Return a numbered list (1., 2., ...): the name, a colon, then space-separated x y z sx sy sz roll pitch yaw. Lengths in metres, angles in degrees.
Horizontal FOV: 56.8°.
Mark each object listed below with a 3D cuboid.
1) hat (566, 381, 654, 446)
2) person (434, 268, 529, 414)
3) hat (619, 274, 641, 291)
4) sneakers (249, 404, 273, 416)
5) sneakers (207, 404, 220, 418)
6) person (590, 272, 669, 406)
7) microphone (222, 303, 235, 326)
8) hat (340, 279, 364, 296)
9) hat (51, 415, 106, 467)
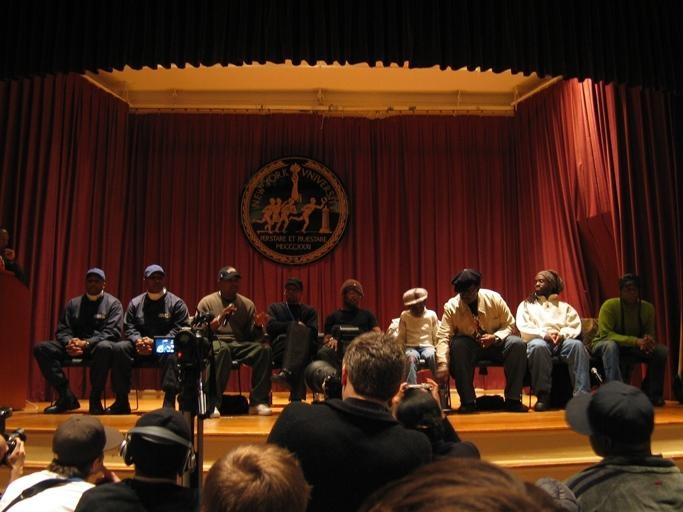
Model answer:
1. hat: 1.492 0.824 3.471 0.423 0.274 0.354 15 29 22
2. person: 1.373 0.863 6.327 1.038 1.516 0.916 9 -17 -41
3. hat: 2.931 0.252 6.466 0.115 0.150 0.177 4 -18 2
4. sneakers: -0.769 1.466 6.029 0.207 0.101 0.089 -7 -11 30
5. sneakers: -1.180 1.420 5.804 0.098 0.132 0.119 2 -7 -8
6. person: 2.783 0.799 6.028 0.593 1.353 0.994 3 -40 15
7. microphone: -1.115 0.579 6.182 0.065 0.083 0.285 8 -49 -14
8. hat: 0.133 0.352 7.085 0.144 0.188 0.216 1 0 24
9. hat: -1.498 1.057 3.601 0.203 0.200 0.312 13 33 -3
